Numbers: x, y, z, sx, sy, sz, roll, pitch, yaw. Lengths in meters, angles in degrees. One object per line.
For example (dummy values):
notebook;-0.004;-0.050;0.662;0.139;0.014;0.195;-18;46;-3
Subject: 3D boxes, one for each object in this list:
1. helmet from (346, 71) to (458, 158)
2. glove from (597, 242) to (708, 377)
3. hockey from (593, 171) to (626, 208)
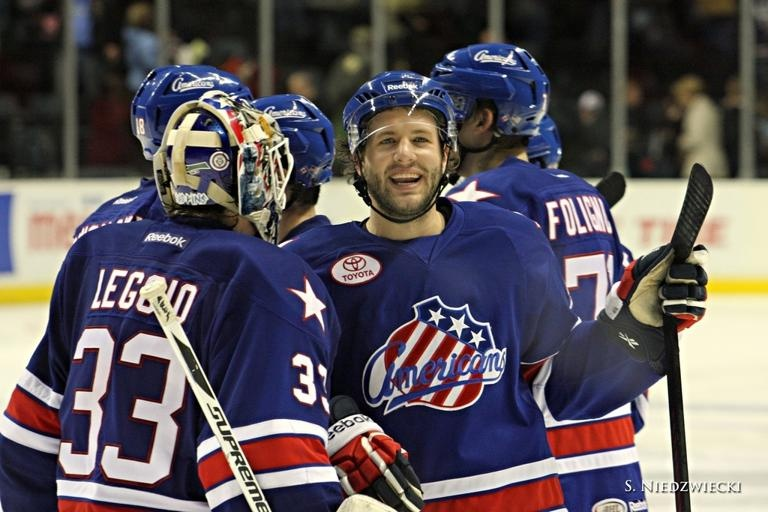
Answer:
helmet;0.077;-0.780;6.662;0.397;0.448;0.502;0;-22;-2
glove;1.387;0.247;6.598;0.471;0.626;0.262;39;31;-4
hockey;1.374;-0.404;7.781;0.142;0.218;0.435;2;3;21
